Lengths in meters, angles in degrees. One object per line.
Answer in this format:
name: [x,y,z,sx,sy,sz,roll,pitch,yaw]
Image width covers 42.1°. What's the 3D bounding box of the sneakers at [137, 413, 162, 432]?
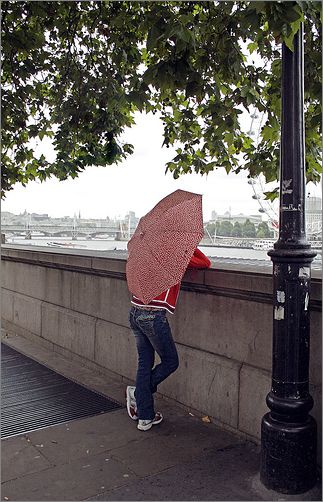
sneakers: [-0.095,1.456,3.579,0.083,0.117,0.243,2,8,38]
